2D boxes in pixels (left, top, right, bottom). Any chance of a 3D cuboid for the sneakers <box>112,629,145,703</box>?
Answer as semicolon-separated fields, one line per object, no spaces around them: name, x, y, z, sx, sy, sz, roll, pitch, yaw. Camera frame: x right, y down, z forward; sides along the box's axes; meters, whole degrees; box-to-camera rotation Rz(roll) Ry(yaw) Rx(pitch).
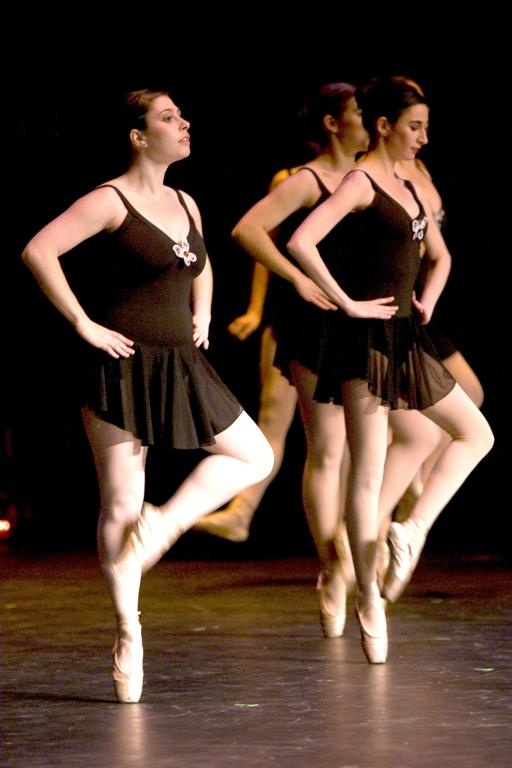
sneakers;-0.262;0.584;1.746;0.062;0.168;0.118;2;26;-9

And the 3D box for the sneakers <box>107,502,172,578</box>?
sneakers;-0.232;0.324;1.770;0.068;0.150;0.135;26;31;33

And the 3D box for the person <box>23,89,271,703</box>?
person;-0.224;0.066;1.870;0.542;1.303;0.807;-1;27;-15
